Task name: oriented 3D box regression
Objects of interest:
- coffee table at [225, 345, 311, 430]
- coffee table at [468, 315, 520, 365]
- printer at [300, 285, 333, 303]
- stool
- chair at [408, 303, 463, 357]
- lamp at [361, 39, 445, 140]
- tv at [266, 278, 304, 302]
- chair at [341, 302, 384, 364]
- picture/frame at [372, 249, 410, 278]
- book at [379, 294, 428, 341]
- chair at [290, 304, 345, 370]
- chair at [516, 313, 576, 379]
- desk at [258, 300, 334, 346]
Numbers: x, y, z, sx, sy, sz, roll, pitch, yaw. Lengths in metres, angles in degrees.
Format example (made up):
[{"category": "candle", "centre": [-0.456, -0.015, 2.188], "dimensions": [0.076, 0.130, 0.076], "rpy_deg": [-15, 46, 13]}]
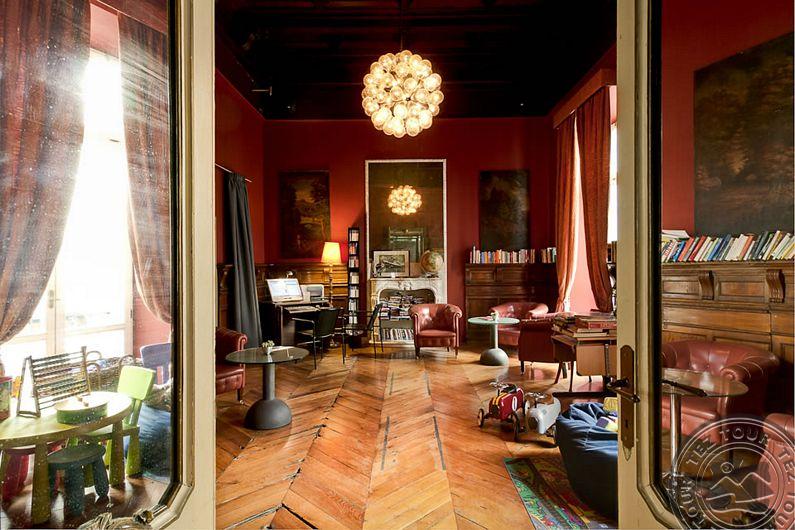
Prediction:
[{"category": "coffee table", "centre": [-1.343, 1.211, 5.482], "dimensions": [0.754, 0.769, 0.749], "rpy_deg": [-6, 8, -39]}, {"category": "coffee table", "centre": [1.396, 1.108, 7.744], "dimensions": [0.738, 0.614, 0.735], "rpy_deg": [0, 2, 25]}, {"category": "printer", "centre": [-1.373, 0.465, 8.842], "dimensions": [0.546, 0.367, 0.290], "rpy_deg": [0, 2, -1]}, {"category": "stool", "centre": [-1.483, 0.963, 2.510], "dimensions": [0.317, 0.334, 0.340], "rpy_deg": [-3, 2, -41]}, {"category": "chair", "centre": [0.571, 1.020, 8.151], "dimensions": [0.760, 0.724, 0.713], "rpy_deg": [0, 7, 1]}, {"category": "lamp", "centre": [0.103, -2.255, 6.551], "dimensions": [1.134, 0.756, 1.163], "rpy_deg": [7, 21, 17]}, {"category": "tv", "centre": [-1.770, 0.395, 8.399], "dimensions": [0.647, 0.350, 0.422], "rpy_deg": [-6, 9, -42]}, {"category": "chair", "centre": [-0.654, 1.078, 8.693], "dimensions": [0.825, 1.131, 0.735], "rpy_deg": [1, -2, -5]}, {"category": "picture/frame", "centre": [-0.103, -0.011, 9.254], "dimensions": [0.527, 0.379, 0.033], "rpy_deg": [0, 0, 3]}, {"category": "book", "centre": [-0.023, 0.895, 9.264], "dimensions": [0.765, 0.767, 0.180], "rpy_deg": [0, -13, 5]}, {"category": "chair", "centre": [-1.066, 1.059, 8.236], "dimensions": [0.871, 1.183, 0.850], "rpy_deg": [3, 3, 42]}, {"category": "chair", "centre": [1.830, 1.008, 6.728], "dimensions": [0.831, 0.862, 0.752], "rpy_deg": [0, -3, 14]}, {"category": "desk", "centre": [-1.567, 0.908, 8.356], "dimensions": [0.671, 0.674, 0.886], "rpy_deg": [3, 6, 39]}]
